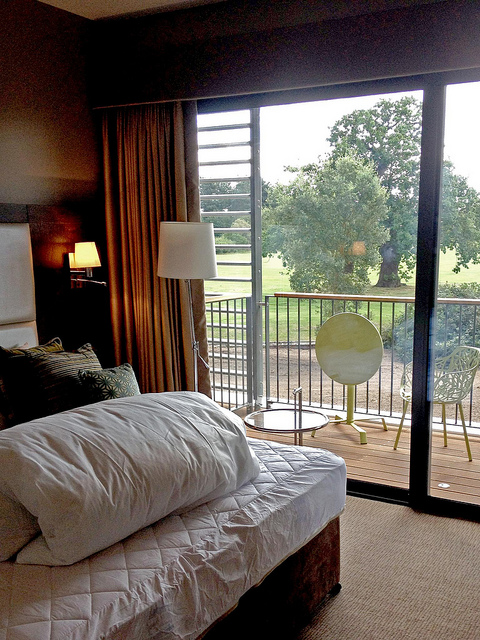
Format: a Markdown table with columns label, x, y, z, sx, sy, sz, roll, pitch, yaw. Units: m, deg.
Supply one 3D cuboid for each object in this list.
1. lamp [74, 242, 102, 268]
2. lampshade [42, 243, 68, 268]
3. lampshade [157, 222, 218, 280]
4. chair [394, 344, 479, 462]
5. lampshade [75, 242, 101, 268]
| label | x | y | z | sx | sy | sz | roll | pitch | yaw |
| --- | --- | --- | --- | --- | --- | --- | --- | --- | --- |
| lamp | -0.950 | -0.398 | 3.239 | 0.150 | 0.174 | 0.187 | -4 | 5 | 4 |
| lampshade | -1.158 | -0.406 | 3.198 | 0.134 | 0.127 | 0.135 | 0 | 2 | -23 |
| lampshade | -0.310 | -0.421 | 2.987 | 0.339 | 0.325 | 0.314 | 2 | 12 | 12 |
| chair | 1.315 | 0.557 | 3.430 | 0.509 | 0.757 | 0.552 | -1 | 8 | 8 |
| lampshade | -0.949 | -0.405 | 3.152 | 0.180 | 0.169 | 0.145 | -1 | 11 | 19 |
